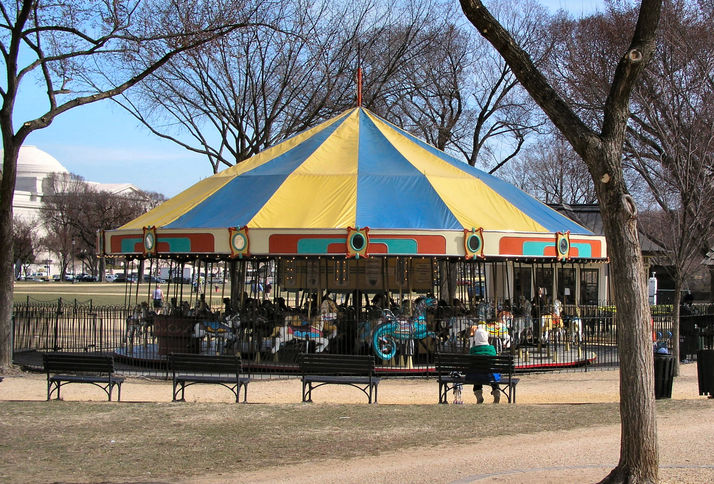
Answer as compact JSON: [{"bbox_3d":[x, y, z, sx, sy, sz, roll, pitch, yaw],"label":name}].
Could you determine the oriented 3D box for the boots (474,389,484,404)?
[{"bbox_3d":[2.930,3.688,24.551,0.170,0.351,0.347,-8,6,-3],"label":"boots"}]

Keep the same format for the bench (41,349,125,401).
[{"bbox_3d":[-6.647,3.287,24.891,1.771,1.214,0.815,1,1,9],"label":"bench"}]

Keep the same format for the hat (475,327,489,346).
[{"bbox_3d":[3.129,2.315,25.222,0.314,0.395,0.385,-2,2,-20],"label":"hat"}]

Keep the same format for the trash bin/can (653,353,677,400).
[{"bbox_3d":[7.515,3.284,24.909,0.460,1.049,1.233,0,0,16],"label":"trash bin/can"}]
